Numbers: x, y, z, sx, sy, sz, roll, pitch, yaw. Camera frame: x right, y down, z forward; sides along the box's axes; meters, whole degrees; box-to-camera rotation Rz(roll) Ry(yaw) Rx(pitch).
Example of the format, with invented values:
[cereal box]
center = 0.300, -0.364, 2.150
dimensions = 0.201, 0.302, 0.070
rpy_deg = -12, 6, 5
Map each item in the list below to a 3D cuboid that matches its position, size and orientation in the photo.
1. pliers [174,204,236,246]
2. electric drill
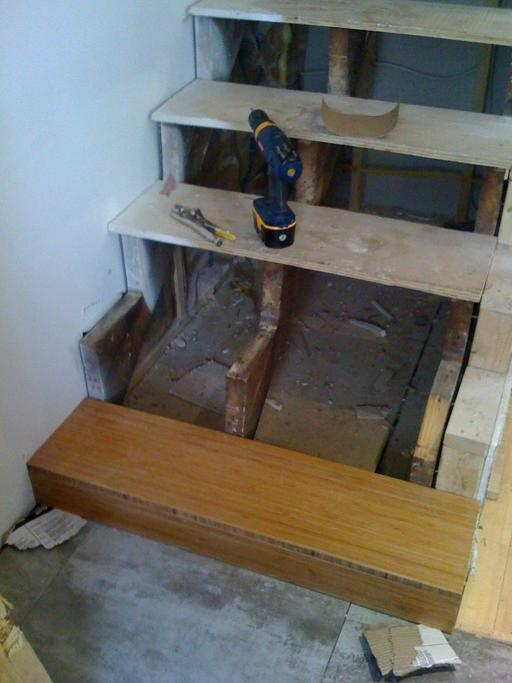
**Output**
[pliers]
center = -0.157, -0.336, 1.644
dimensions = 0.083, 0.044, 0.269
rpy_deg = -19, 37, -31
[electric drill]
center = 0.047, -0.434, 1.554
dimensions = 0.140, 0.312, 0.293
rpy_deg = 1, 31, -1
